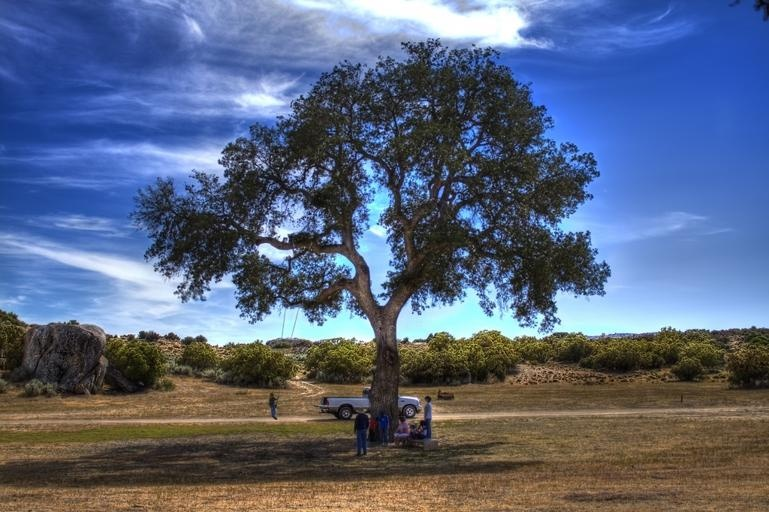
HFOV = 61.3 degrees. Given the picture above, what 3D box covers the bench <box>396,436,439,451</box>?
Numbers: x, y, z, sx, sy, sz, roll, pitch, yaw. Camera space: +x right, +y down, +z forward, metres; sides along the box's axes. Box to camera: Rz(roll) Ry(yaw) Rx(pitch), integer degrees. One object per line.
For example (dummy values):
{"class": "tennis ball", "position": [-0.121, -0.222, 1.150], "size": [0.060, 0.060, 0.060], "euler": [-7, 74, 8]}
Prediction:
{"class": "bench", "position": [1.855, 10.549, 36.618], "size": [0.989, 0.618, 2.755], "euler": [12, -19, -34]}
